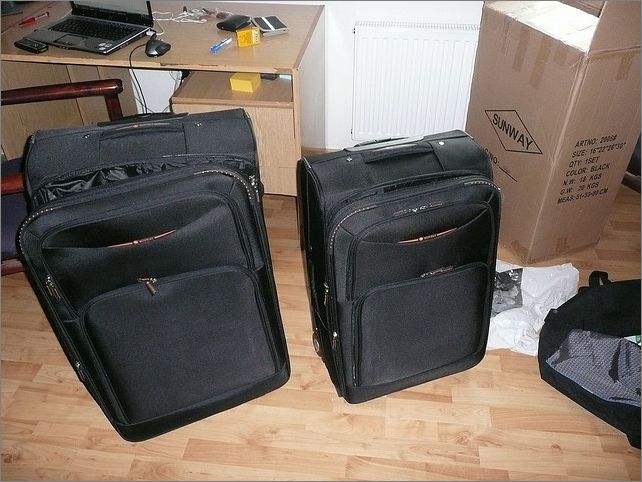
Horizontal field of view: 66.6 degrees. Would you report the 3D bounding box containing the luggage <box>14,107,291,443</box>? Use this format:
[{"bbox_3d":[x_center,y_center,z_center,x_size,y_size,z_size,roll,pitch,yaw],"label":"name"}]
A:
[{"bbox_3d":[-0.477,0.175,1.618,0.714,0.826,0.503,-16,24,-10],"label":"luggage"}]

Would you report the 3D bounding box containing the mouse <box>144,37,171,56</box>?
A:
[{"bbox_3d":[-0.647,-0.761,1.926,0.096,0.052,0.137,-9,35,-7],"label":"mouse"}]

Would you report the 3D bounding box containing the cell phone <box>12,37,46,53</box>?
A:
[{"bbox_3d":[-1.142,-0.766,1.934,0.124,0.033,0.063,16,47,8],"label":"cell phone"}]

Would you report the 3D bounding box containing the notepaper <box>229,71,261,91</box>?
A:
[{"bbox_3d":[-0.314,-0.657,1.988,0.103,0.055,0.092,-2,32,-5],"label":"notepaper"}]

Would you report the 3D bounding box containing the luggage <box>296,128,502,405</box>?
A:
[{"bbox_3d":[0.221,0.107,1.750,0.730,0.813,0.534,-10,28,-15],"label":"luggage"}]
